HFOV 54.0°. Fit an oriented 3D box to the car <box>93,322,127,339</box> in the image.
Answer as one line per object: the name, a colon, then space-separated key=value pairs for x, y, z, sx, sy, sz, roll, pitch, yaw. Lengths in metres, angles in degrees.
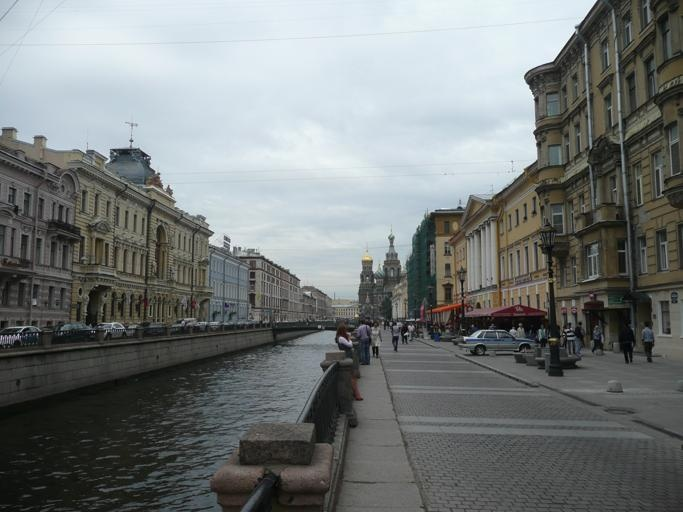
car: x=-12.670 y=4.072 z=36.592 sx=0.969 sy=0.680 sz=1.972 roll=1 pitch=-17 yaw=-3
